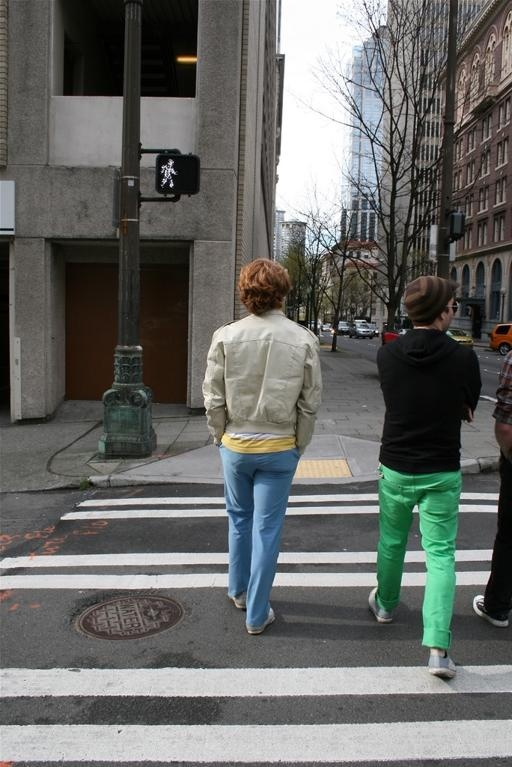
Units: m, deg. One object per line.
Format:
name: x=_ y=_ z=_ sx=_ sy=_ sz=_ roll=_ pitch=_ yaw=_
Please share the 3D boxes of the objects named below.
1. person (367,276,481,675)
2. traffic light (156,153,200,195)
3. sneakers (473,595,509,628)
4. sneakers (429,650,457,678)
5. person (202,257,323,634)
person: x=0.851 y=0.409 z=3.827 sx=0.424 sy=1.841 sz=0.731 roll=-1 pitch=6 yaw=-9
traffic light: x=-0.884 y=-2.320 z=8.777 sx=0.460 sy=0.461 sz=0.451 roll=0 pitch=11 yaw=-2
sneakers: x=1.286 y=1.236 z=4.267 sx=0.074 sy=0.078 sz=0.206 roll=6 pitch=14 yaw=-15
sneakers: x=0.848 y=1.285 z=3.592 sx=0.068 sy=0.094 sz=0.188 roll=-3 pitch=-7 yaw=15
person: x=0.018 y=0.324 z=4.074 sx=0.611 sy=1.929 sz=0.420 roll=1 pitch=6 yaw=14
